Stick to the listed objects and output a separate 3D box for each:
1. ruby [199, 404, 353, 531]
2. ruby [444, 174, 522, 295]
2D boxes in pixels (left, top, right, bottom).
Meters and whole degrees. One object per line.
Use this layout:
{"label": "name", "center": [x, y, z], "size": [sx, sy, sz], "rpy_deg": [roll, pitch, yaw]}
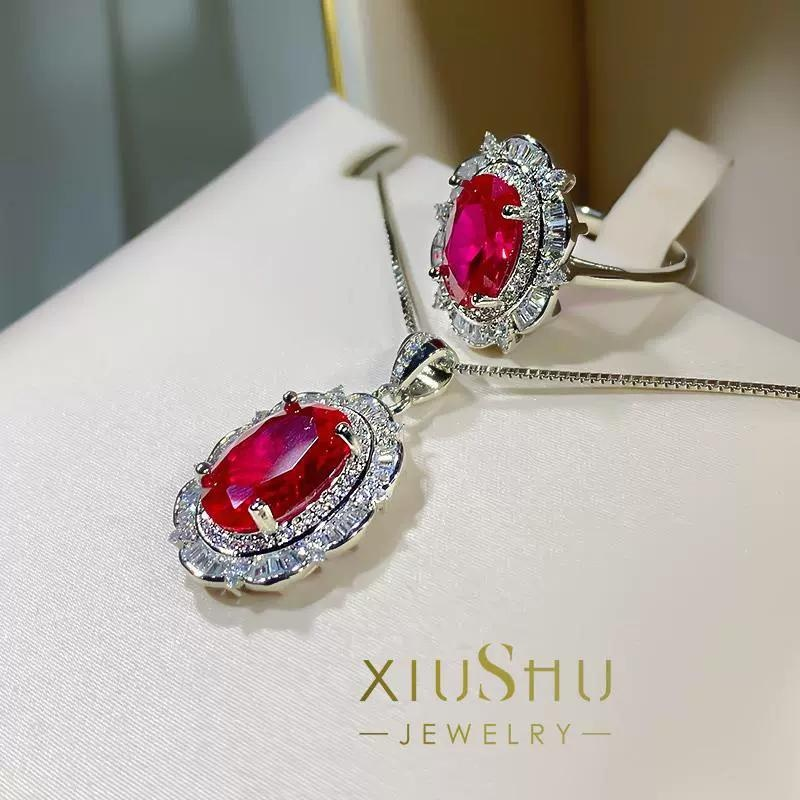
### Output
{"label": "ruby", "center": [-0.122, 0.063, 0.911], "size": [0.144, 0.047, 0.101], "rpy_deg": [-43, 63, -9]}
{"label": "ruby", "center": [0.099, -0.180, 1.046], "size": [0.103, 0.042, 0.136], "rpy_deg": [-5, 83, 48]}
